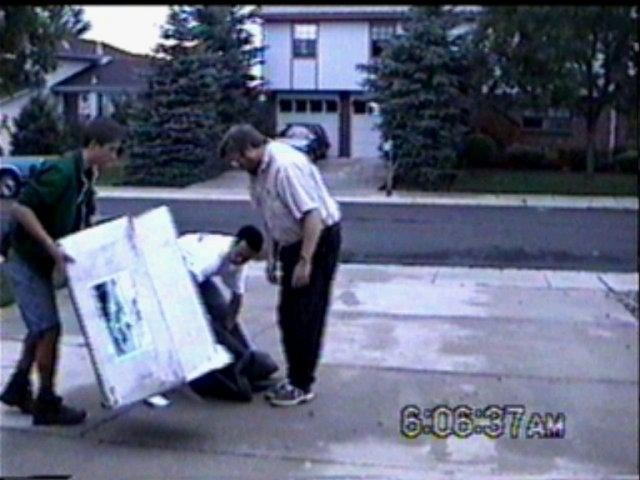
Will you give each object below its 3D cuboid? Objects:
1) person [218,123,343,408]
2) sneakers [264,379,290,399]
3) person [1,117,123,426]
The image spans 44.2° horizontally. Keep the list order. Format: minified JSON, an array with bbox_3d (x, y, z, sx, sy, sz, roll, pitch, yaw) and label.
[{"bbox_3d":[-0.263,0.196,6.153,0.798,2.181,0.392,0,10,8],"label":"person"},{"bbox_3d":[-0.356,1.191,6.289,0.218,0.112,0.105,-3,11,-5],"label":"sneakers"},{"bbox_3d":[-2.024,0.236,5.978,0.951,2.248,0.775,-7,12,-30],"label":"person"}]
